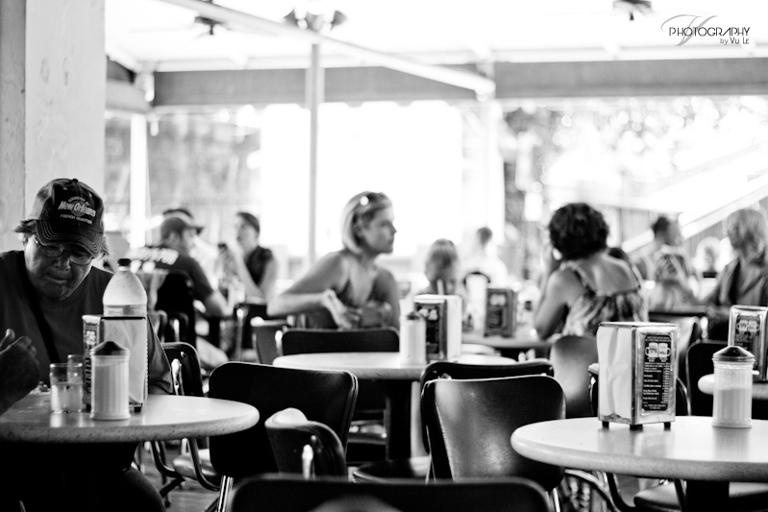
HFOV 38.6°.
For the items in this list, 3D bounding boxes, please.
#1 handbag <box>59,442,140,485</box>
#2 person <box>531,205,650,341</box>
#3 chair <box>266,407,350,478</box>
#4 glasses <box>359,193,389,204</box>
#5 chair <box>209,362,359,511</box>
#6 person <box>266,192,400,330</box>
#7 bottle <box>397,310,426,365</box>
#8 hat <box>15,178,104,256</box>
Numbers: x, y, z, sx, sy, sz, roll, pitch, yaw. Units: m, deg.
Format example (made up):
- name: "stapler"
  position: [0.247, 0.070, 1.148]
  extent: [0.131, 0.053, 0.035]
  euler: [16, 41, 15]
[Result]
- name: "handbag"
  position: [-1.109, 0.810, 4.336]
  extent: [0.063, 0.161, 0.321]
  euler: [0, -4, 42]
- name: "person"
  position: [1.295, 0.249, 6.740]
  extent: [0.648, 1.052, 0.650]
  euler: [-8, -2, 12]
- name: "chair"
  position: [-0.265, 0.656, 3.906]
  extent: [0.226, 0.255, 0.240]
  euler: [-6, 7, -29]
- name: "glasses"
  position: [-0.046, -0.325, 6.367]
  extent: [0.164, 0.078, 0.053]
  euler: [4, -3, -29]
- name: "chair"
  position: [-0.411, 0.745, 4.628]
  extent: [0.498, 0.680, 0.549]
  euler: [0, -7, 17]
- name: "person"
  position: [-0.243, 0.030, 6.497]
  extent: [0.693, 0.784, 0.375]
  euler: [2, -3, 0]
- name: "bottle"
  position: [0.153, 0.401, 5.498]
  extent: [0.125, 0.269, 0.093]
  euler: [3, -3, -8]
- name: "hat"
  position: [-1.346, -0.188, 4.606]
  extent: [0.236, 0.211, 0.370]
  euler: [19, 8, -30]
